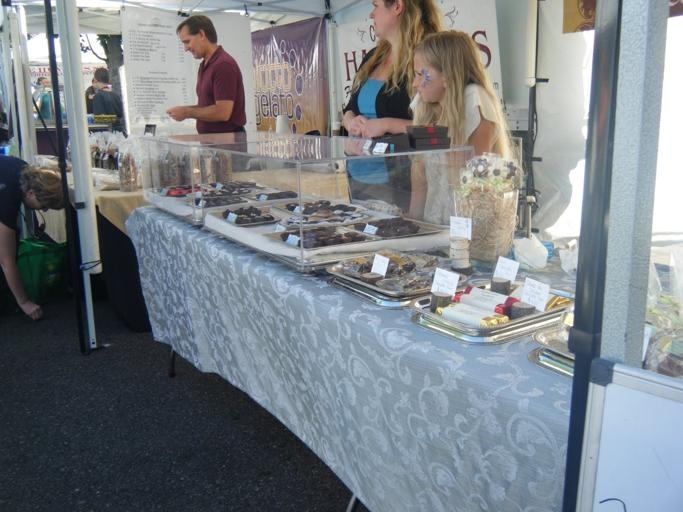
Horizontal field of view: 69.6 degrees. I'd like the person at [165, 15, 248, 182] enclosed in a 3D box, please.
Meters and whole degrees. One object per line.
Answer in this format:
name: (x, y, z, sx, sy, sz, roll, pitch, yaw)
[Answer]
person: (-1.144, -1.088, 4.161, 0.522, 1.686, 0.595, -15, 30, -39)
